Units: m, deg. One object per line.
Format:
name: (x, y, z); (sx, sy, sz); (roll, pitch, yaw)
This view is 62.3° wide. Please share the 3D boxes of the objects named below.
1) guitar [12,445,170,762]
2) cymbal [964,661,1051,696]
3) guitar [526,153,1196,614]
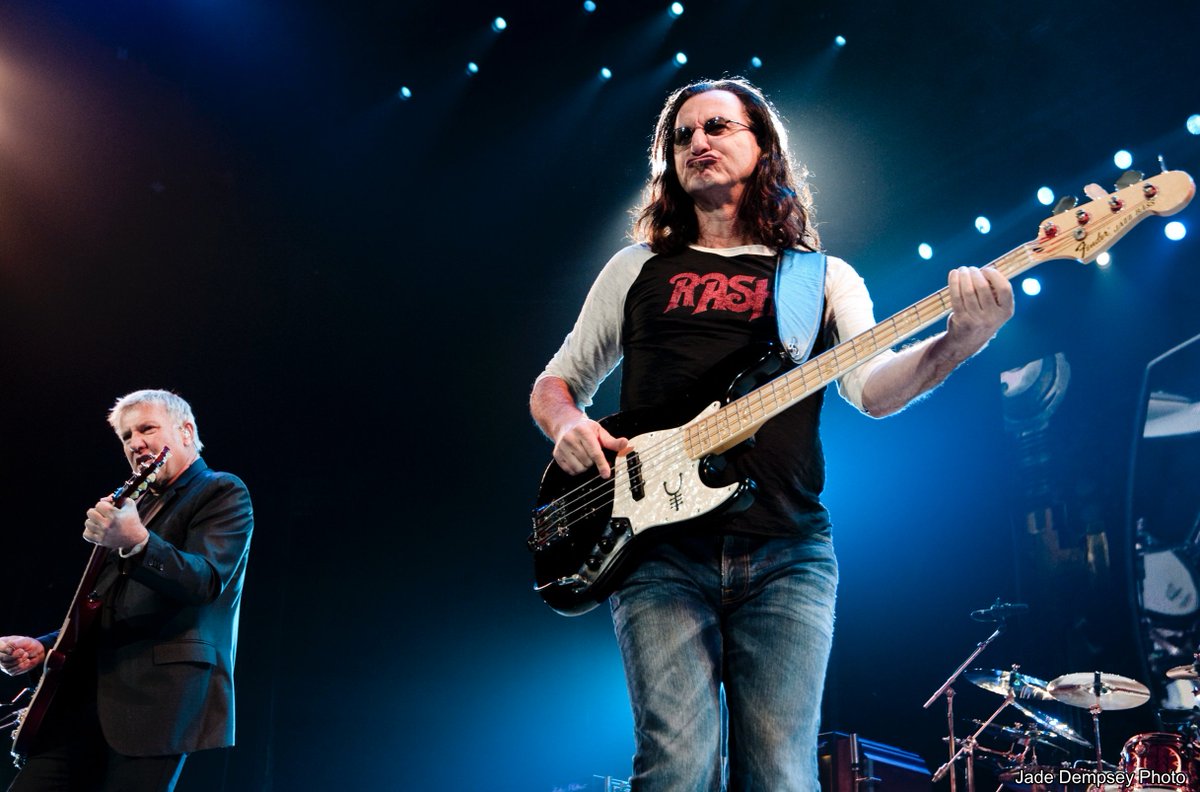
guitar: (-3.300, 1.289, 6.404); (0.336, 2.023, 1.495); (20, -33, -24)
cymbal: (3.125, 2.207, 7.711); (0.738, 0.201, 0.174); (4, 9, 38)
guitar: (2.014, -0.039, 6.410); (4.095, 1.235, 0.542); (-25, -34, 9)
